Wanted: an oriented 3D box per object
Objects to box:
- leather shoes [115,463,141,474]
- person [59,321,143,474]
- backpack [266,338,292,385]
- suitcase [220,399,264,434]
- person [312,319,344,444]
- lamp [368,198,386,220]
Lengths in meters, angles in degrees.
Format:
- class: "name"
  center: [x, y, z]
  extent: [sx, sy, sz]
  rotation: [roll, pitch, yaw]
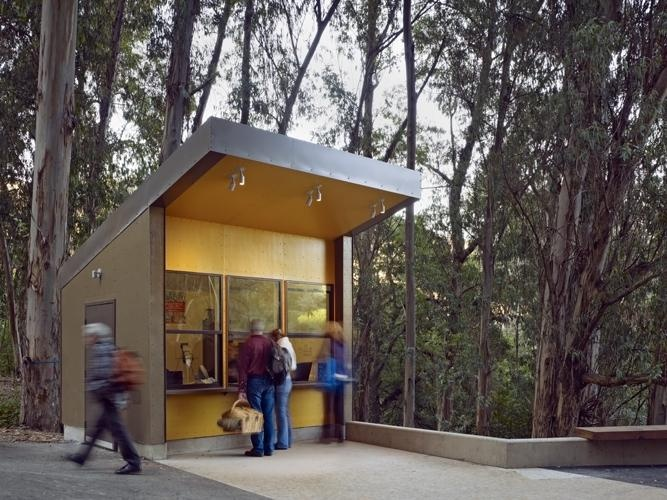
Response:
- class: "leather shoes"
  center: [-3.269, 3.510, 10.255]
  extent: [0.409, 0.224, 0.176]
  rotation: [7, -12, -4]
- class: "person"
  center: [-3.506, 2.386, 10.180]
  extent: [1.016, 2.343, 0.590]
  rotation: [4, -7, -19]
- class: "backpack"
  center: [-1.009, 2.114, 11.910]
  extent: [0.230, 0.758, 0.507]
  rotation: [2, -2, 0]
- class: "suitcase"
  center: [-1.673, 3.107, 11.776]
  extent: [0.579, 0.704, 0.645]
  rotation: [15, -19, -23]
- class: "person"
  center: [-0.044, 2.782, 13.688]
  extent: [0.635, 2.490, 0.254]
  rotation: [1, -6, 2]
- class: "lamp"
  center: [0.885, -0.863, 13.081]
  extent: [0.403, 0.496, 0.161]
  rotation: [-8, -9, 43]
